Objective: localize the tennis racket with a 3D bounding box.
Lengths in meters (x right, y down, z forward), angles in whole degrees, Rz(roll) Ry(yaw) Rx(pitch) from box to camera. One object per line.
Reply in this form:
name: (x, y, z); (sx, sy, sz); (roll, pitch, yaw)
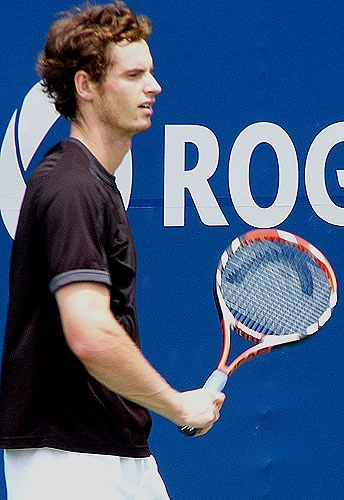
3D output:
tennis racket: (0.266, 0.226, 2.453); (0.726, 0.314, 0.060); (-51, -7, -32)
